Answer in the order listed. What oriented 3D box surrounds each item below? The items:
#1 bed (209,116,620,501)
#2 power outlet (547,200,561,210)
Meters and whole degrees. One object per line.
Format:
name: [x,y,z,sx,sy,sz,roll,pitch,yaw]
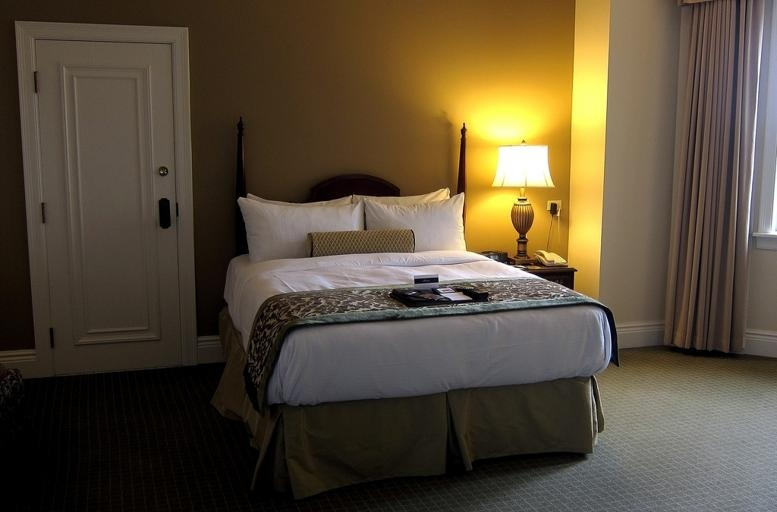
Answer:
bed: [-0.173,0.160,4.351,1.957,1.234,2.365,-3,11,-16]
power outlet: [1.749,-0.543,5.770,0.149,0.108,0.084,0,2,-7]
